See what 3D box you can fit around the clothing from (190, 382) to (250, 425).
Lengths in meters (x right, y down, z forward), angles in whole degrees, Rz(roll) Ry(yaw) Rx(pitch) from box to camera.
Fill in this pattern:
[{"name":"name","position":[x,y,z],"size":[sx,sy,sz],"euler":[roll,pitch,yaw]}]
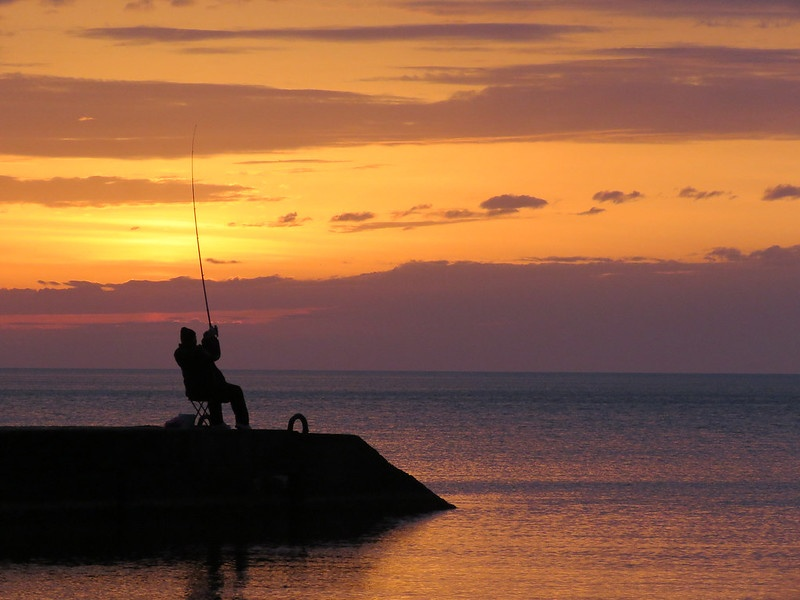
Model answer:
[{"name":"clothing","position":[-6.218,3.266,83.793],"size":[2.665,1.653,1.267],"euler":[-4,-4,11]}]

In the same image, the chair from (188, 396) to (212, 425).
[{"name":"chair","position":[-6.818,3.546,84.464],"size":[1.419,0.864,1.131],"euler":[-1,2,-6]}]
